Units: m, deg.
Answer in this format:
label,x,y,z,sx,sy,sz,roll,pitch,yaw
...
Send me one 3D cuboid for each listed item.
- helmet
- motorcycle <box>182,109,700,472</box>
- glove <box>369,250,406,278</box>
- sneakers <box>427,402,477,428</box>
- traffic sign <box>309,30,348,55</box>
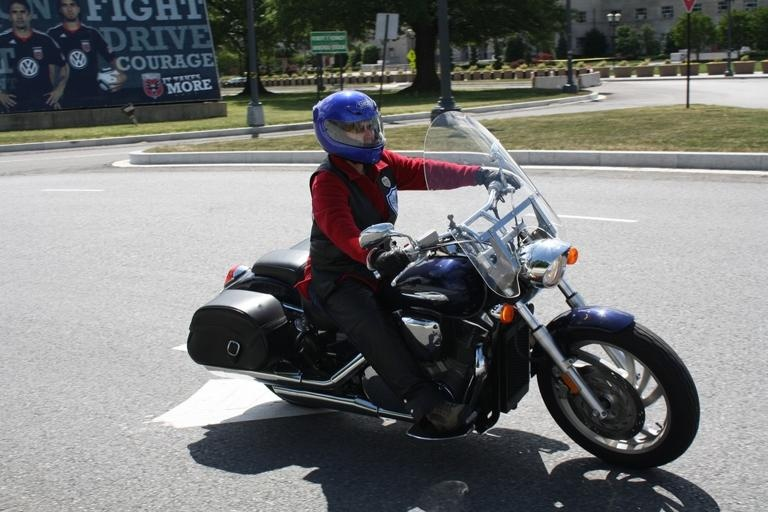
label,x,y,z,sx,sy,sz,roll,pitch,yaw
helmet,-0.189,-0.851,4.662,0.605,0.374,0.424,15,30,21
motorcycle,0.332,0.017,4.810,1.850,2.174,1.702,-14,29,-29
glove,0.030,0.031,4.037,0.105,0.152,0.225,-17,20,-35
sneakers,0.391,0.940,4.234,0.367,0.093,0.130,0,-18,8
traffic sign,-2.120,-8.309,27.916,1.264,0.876,1.481,-2,14,6
